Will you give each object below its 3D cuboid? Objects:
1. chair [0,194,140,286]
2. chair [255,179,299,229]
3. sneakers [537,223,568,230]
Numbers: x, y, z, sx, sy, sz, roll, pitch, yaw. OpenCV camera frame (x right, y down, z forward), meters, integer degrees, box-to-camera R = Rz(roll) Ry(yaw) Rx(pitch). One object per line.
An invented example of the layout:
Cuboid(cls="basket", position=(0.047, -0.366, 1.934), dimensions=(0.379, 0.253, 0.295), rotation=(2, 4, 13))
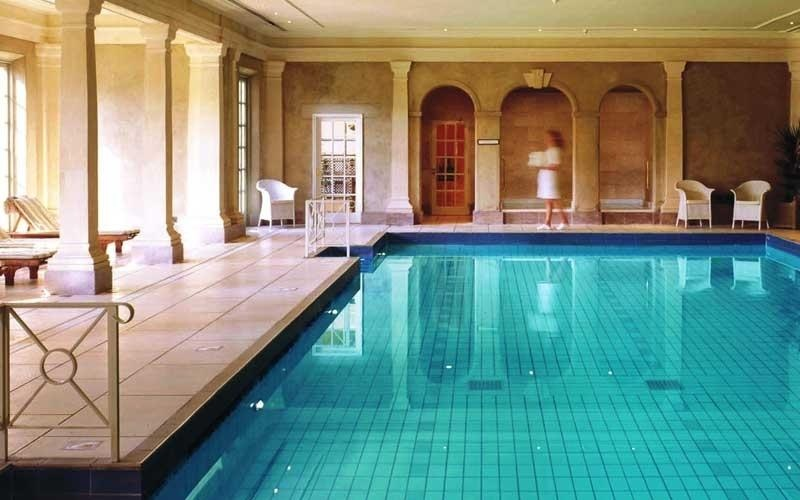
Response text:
Cuboid(cls="chair", position=(-5.333, -0.251, 10.156), dimensions=(2.561, 1.066, 1.219), rotation=(1, 5, -1))
Cuboid(cls="chair", position=(-2.689, -1.041, 13.726), dimensions=(0.792, 0.836, 0.662), rotation=(-3, 0, -10))
Cuboid(cls="sneakers", position=(3.371, -0.508, 13.387), dimensions=(0.709, 0.165, 0.247), rotation=(0, -2, -9))
